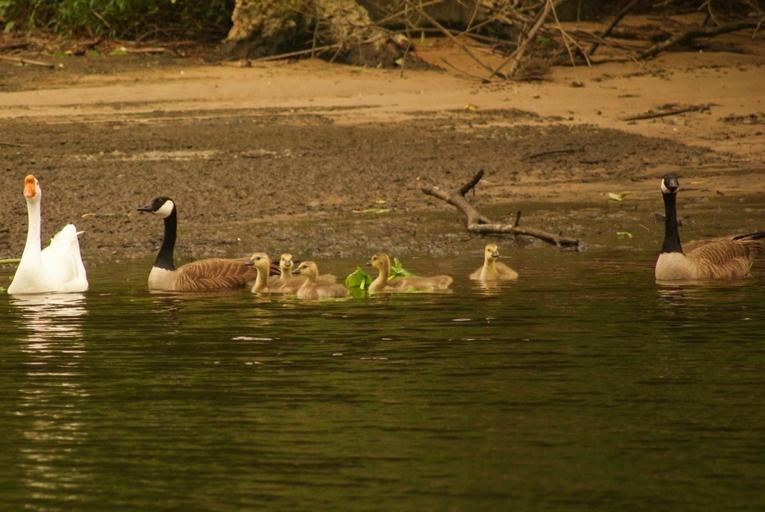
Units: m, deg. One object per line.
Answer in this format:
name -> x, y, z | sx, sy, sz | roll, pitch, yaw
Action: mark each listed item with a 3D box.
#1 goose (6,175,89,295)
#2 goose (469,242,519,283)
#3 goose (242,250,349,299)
goose -> -6.145, -0.402, 22.867 | 1.401, 2.117, 0.982 | -3, 12, -1
goose -> 2.069, 0.153, 23.371 | 0.778, 0.478, 0.967 | 0, 10, 12
goose -> -1.558, 0.341, 22.658 | 1.078, 0.762, 1.707 | -10, 12, -39
